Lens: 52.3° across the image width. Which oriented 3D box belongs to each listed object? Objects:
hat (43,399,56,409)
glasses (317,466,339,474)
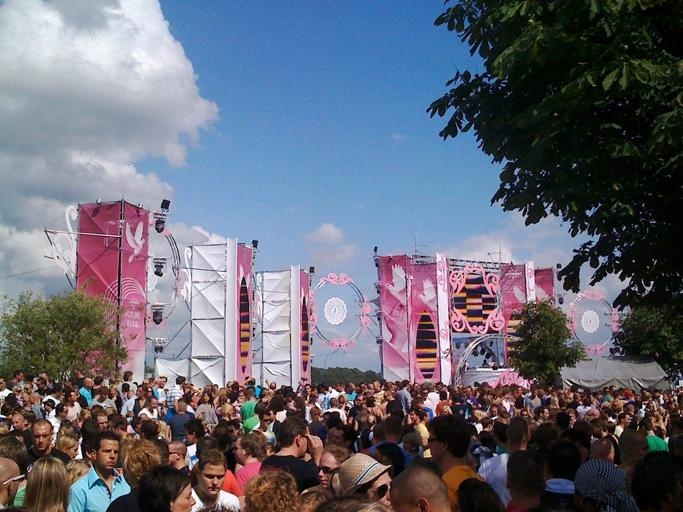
[{"bbox_3d":[-6.042,3.055,14.450,0.168,0.126,0.227,4,3,1],"label":"hat"},{"bbox_3d":[-0.177,2.648,8.610,0.183,0.059,0.176,13,-17,-35],"label":"glasses"}]
